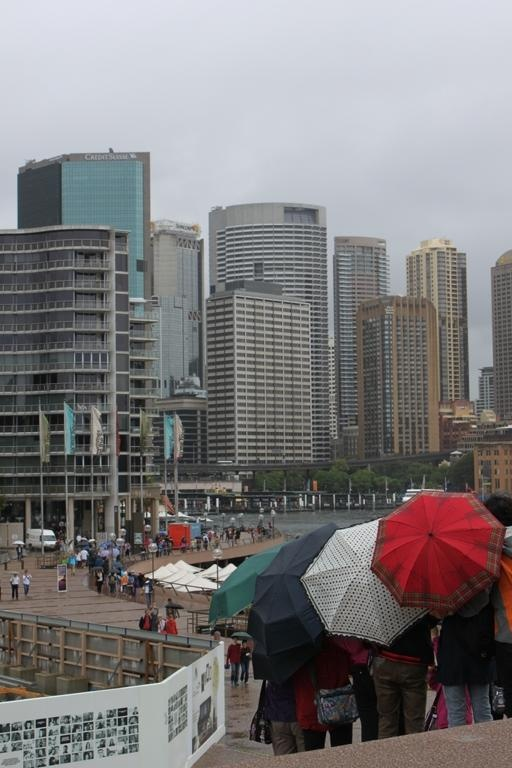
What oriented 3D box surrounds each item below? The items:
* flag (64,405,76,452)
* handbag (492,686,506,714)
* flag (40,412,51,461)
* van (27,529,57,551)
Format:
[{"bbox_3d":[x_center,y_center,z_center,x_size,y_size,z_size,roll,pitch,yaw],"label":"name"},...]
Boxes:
[{"bbox_3d":[-9.548,2.383,70.123,0.358,2.162,1.732,-1,-5,-12],"label":"flag"},{"bbox_3d":[2.066,2.698,11.753,0.093,0.261,0.535,-3,-5,9],"label":"handbag"},{"bbox_3d":[-11.328,2.816,73.346,0.434,2.655,3.326,-1,-5,-10],"label":"flag"},{"bbox_3d":[-11.909,8.666,75.974,1.213,1.370,2.353,3,-13,-30],"label":"van"}]
